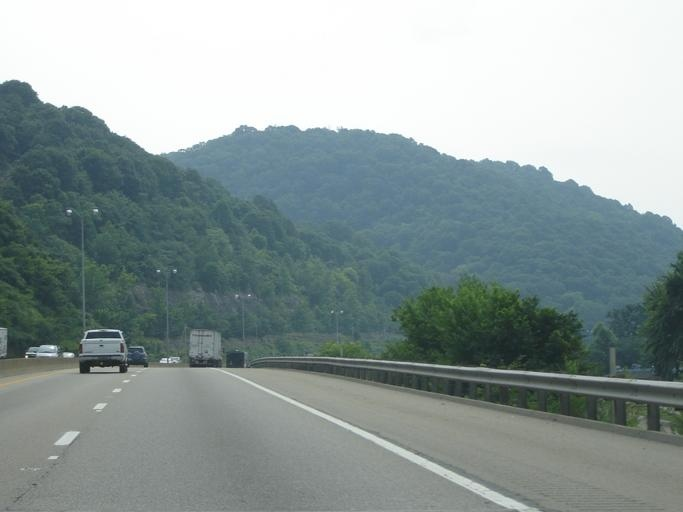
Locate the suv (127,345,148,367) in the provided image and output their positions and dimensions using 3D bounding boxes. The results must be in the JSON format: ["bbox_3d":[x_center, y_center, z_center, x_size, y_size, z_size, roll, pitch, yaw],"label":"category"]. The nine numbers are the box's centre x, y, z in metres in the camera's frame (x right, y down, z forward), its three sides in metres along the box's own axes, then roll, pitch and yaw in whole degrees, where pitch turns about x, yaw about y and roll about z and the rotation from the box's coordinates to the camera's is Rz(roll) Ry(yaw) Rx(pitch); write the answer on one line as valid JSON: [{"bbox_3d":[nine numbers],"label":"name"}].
[{"bbox_3d":[-15.563,7.592,56.666,1.307,1.438,1.912,0,-9,17],"label":"suv"}]

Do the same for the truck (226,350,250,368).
[{"bbox_3d":[-11.594,11.494,82.946,2.241,2.099,2.309,0,-1,9],"label":"truck"}]

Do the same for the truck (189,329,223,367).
[{"bbox_3d":[-14.075,9.425,76.536,2.143,3.758,4.787,2,-9,3],"label":"truck"}]
